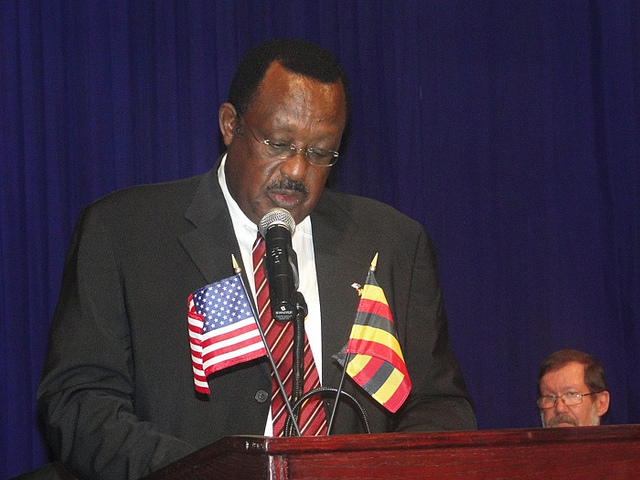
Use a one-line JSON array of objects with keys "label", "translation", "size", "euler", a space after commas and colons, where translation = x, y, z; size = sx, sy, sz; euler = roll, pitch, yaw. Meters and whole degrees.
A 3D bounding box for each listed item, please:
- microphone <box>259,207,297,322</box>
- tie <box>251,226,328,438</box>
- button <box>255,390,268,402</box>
[{"label": "microphone", "translation": [-0.141, 0.085, 2.678], "size": [0.116, 0.405, 0.212], "euler": [-2, -12, -5]}, {"label": "tie", "translation": [-0.146, 0.422, 3.163], "size": [0.217, 0.972, 0.043], "euler": [-20, 15, -18]}, {"label": "button", "translation": [-0.228, 0.604, 3.094], "size": [0.049, 0.047, 0.022], "euler": [-1, -12, -10]}]
